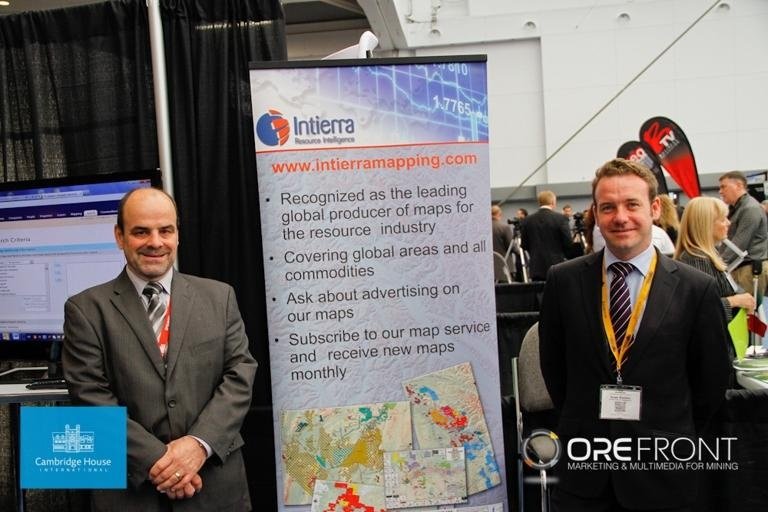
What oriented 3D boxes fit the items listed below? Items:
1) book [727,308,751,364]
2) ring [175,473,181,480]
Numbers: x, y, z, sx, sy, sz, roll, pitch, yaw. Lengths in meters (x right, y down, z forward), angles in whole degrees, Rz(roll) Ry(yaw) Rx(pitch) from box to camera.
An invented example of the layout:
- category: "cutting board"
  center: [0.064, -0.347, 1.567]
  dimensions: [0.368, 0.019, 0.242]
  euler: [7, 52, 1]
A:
- category: "book"
  center: [2.112, 0.475, 4.077]
  dimensions: [0.026, 0.267, 0.243]
  euler: [-5, 31, 39]
- category: "ring"
  center: [-1.017, 1.093, 3.370]
  dimensions: [0.028, 0.031, 0.020]
  euler: [30, 32, 32]
